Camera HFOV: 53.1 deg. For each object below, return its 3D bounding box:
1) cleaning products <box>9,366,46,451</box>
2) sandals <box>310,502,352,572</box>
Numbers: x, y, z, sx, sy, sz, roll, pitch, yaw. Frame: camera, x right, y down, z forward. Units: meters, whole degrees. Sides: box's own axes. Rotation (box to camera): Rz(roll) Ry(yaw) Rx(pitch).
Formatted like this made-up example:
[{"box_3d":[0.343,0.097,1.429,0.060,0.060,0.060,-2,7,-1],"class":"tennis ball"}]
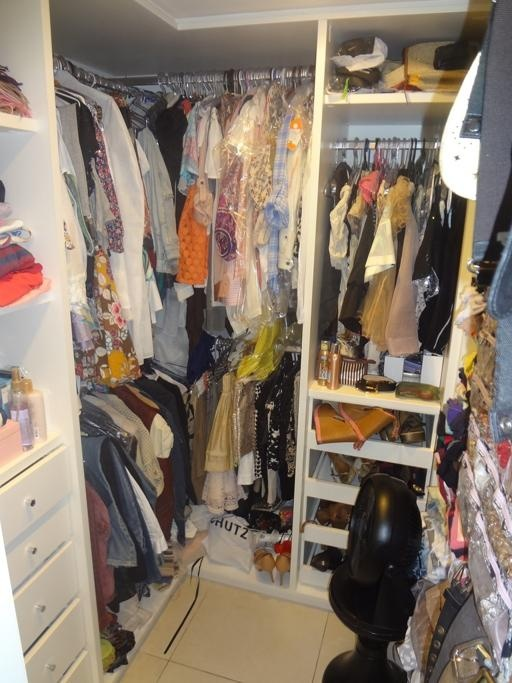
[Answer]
[{"box_3d":[-0.567,0.163,1.289,0.074,0.185,0.086,10,17,30],"class":"cleaning products"},{"box_3d":[0.299,0.765,2.134,0.142,0.295,0.199,4,9,5],"class":"sandals"}]
